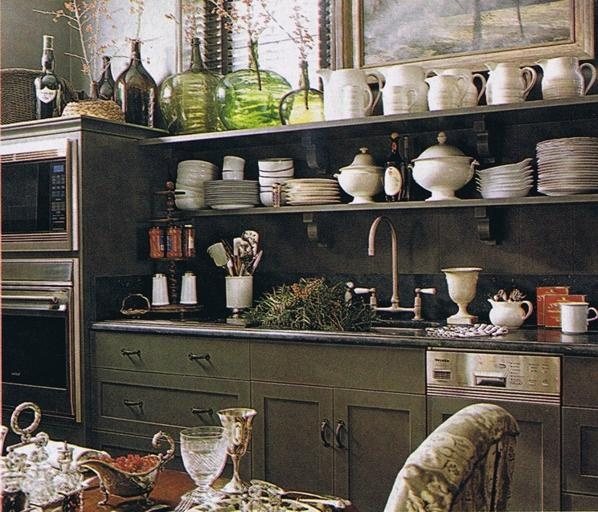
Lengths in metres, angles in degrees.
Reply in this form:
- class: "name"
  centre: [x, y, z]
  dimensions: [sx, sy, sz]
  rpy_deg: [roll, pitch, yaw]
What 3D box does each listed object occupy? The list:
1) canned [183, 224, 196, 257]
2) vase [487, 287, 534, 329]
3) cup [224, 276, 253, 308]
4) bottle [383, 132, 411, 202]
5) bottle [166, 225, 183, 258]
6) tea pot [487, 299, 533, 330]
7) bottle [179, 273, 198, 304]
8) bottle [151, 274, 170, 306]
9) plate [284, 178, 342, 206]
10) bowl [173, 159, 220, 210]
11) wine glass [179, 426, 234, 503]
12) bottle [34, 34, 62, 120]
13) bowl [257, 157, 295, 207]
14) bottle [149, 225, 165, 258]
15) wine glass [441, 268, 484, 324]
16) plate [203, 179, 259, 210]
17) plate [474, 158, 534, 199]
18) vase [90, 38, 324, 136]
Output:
- class: "canned"
  centre: [-0.593, -0.078, 3.506]
  dimensions: [0.049, 0.176, 0.086]
  rpy_deg: [-2, 3, 5]
- class: "vase"
  centre: [0.922, 0.242, 2.947]
  dimensions: [0.228, 0.127, 0.160]
  rpy_deg: [1, -5, 25]
- class: "cup"
  centre: [-0.309, 0.189, 3.366]
  dimensions: [0.180, 0.160, 0.170]
  rpy_deg: [0, -2, 0]
- class: "bottle"
  centre: [0.480, -0.438, 3.199]
  dimensions: [0.126, 0.345, 0.271]
  rpy_deg: [-2, 3, 9]
- class: "bottle"
  centre: [-0.660, -0.075, 3.461]
  dimensions: [0.087, 0.179, 0.058]
  rpy_deg: [-2, 3, -10]
- class: "tea pot"
  centre: [0.936, 0.263, 2.898]
  dimensions: [0.184, 0.101, 0.129]
  rpy_deg: [1, -5, 21]
- class: "bottle"
  centre: [-0.601, 0.174, 3.547]
  dimensions: [0.088, 0.172, 0.141]
  rpy_deg: [-2, 3, -10]
- class: "bottle"
  centre: [-0.735, 0.180, 3.479]
  dimensions: [0.092, 0.168, 0.132]
  rpy_deg: [-2, 3, -11]
- class: "plate"
  centre: [0.054, -0.302, 3.284]
  dimensions: [0.187, 0.066, 0.186]
  rpy_deg: [-2, -2, 39]
- class: "bowl"
  centre: [-0.599, -0.381, 3.670]
  dimensions: [0.304, 0.260, 0.267]
  rpy_deg: [4, -8, -37]
- class: "wine glass"
  centre: [-0.241, 0.533, 1.693]
  dimensions: [0.114, 0.176, 0.089]
  rpy_deg: [-2, 3, -3]
- class: "bottle"
  centre: [-1.345, -0.940, 3.512]
  dimensions: [0.142, 0.432, 0.172]
  rpy_deg: [-3, 3, -25]
- class: "bowl"
  centre: [-0.132, -0.400, 3.546]
  dimensions: [0.271, 0.235, 0.228]
  rpy_deg: [1, 1, 12]
- class: "bottle"
  centre: [-0.756, -0.067, 3.470]
  dimensions: [0.092, 0.164, 0.029]
  rpy_deg: [-1, 3, 18]
- class: "wine glass"
  centre: [0.741, 0.183, 2.964]
  dimensions: [0.146, 0.251, 0.106]
  rpy_deg: [-3, 3, -15]
- class: "plate"
  centre: [-0.359, -0.316, 3.485]
  dimensions: [0.216, 0.078, 0.189]
  rpy_deg: [-1, -1, 20]
- class: "plate"
  centre: [0.901, -0.324, 2.907]
  dimensions: [0.290, 0.135, 0.215]
  rpy_deg: [-8, -8, 43]
- class: "vase"
  centre: [-0.471, -0.903, 3.546]
  dimensions: [0.880, 0.305, 0.273]
  rpy_deg: [0, 2, 24]
